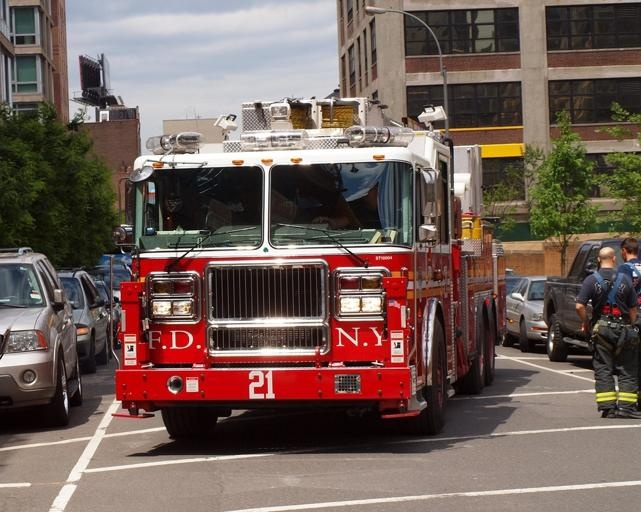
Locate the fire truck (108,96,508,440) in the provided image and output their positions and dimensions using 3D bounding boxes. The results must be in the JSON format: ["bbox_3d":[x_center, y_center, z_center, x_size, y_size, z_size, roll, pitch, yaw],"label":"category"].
[{"bbox_3d":[0.313,0.293,15.508,2.604,2.773,6.254,-2,-4,13],"label":"fire truck"}]

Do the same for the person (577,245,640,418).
[{"bbox_3d":[3.990,1.047,15.200,0.834,2.309,0.962,-2,6,13],"label":"person"}]

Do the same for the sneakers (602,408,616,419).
[{"bbox_3d":[3.926,2.127,14.926,0.129,0.136,0.132,-2,-10,5],"label":"sneakers"}]

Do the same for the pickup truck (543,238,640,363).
[{"bbox_3d":[5.516,0.892,21.986,1.531,1.562,3.098,0,-4,-5],"label":"pickup truck"}]
